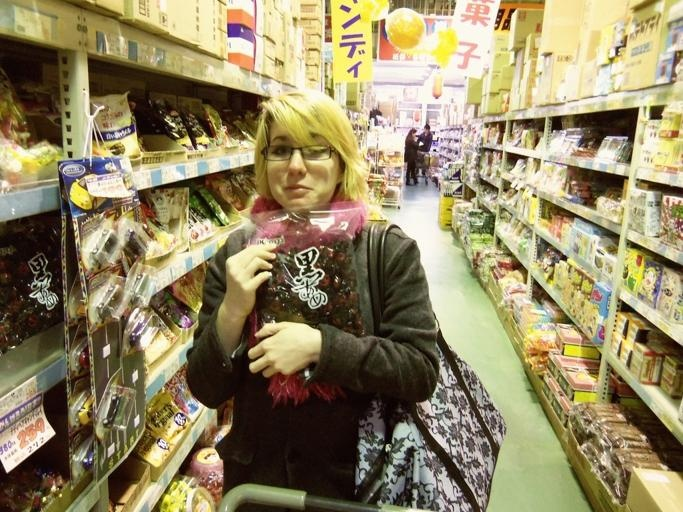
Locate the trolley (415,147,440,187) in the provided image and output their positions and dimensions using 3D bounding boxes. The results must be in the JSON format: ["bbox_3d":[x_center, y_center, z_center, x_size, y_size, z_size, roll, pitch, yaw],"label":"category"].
[{"bbox_3d":[3.684,-3.743,18.967,1.058,1.367,0.970,-6,12,-40],"label":"trolley"}]

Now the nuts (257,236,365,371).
[{"bbox_3d":[-0.093,0.136,1.217,0.242,0.315,0.174,-2,15,-12],"label":"nuts"}]

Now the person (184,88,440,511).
[{"bbox_3d":[-0.101,0.227,1.519,0.569,1.476,0.691,0,16,-4],"label":"person"}]
